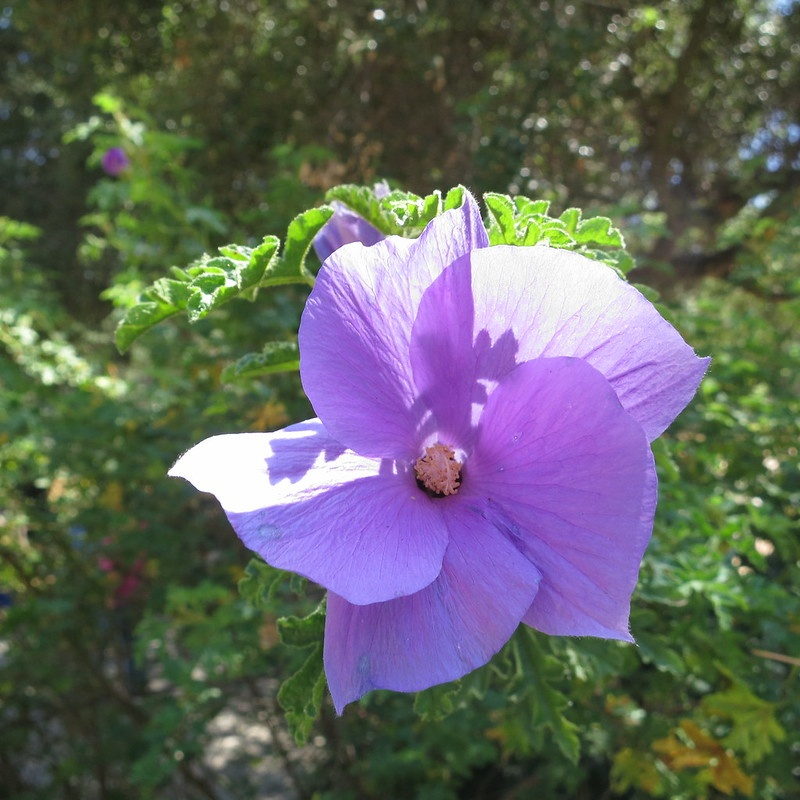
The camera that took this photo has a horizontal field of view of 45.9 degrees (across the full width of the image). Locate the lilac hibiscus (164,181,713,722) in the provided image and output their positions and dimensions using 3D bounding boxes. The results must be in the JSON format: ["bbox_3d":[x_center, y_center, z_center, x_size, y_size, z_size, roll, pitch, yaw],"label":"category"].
[{"bbox_3d":[0.098,0.115,2.087,1.005,0.277,1.077,13,78,6],"label":"lilac hibiscus"}]
